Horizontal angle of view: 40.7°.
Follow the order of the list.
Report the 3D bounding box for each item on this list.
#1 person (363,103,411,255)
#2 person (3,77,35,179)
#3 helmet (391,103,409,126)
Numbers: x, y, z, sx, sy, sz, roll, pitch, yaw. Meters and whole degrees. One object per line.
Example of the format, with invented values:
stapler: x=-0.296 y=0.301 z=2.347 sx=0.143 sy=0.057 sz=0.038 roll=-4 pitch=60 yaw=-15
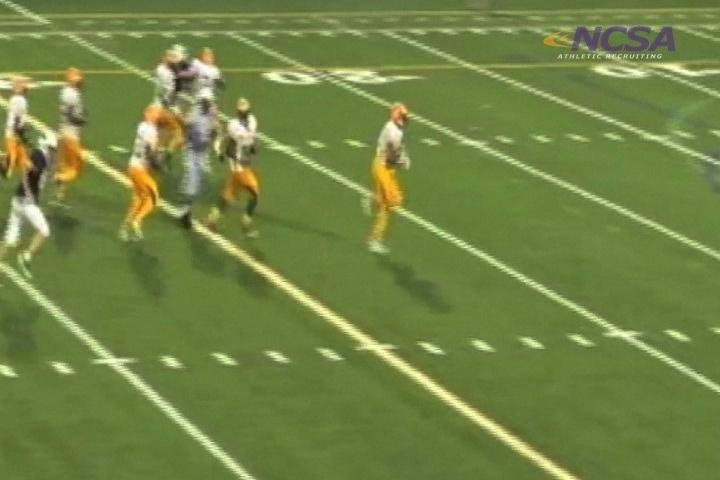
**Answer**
person: x=0.431 y=-0.958 z=14.825 sx=0.532 sy=2.291 sz=0.703 roll=6 pitch=30 yaw=0
person: x=-5.005 y=-1.610 z=14.159 sx=0.342 sy=1.411 sz=0.940 roll=-3 pitch=29 yaw=-15
helmet: x=0.590 y=-1.939 z=14.719 sx=0.233 sy=0.386 sz=0.353 roll=4 pitch=27 yaw=-2
